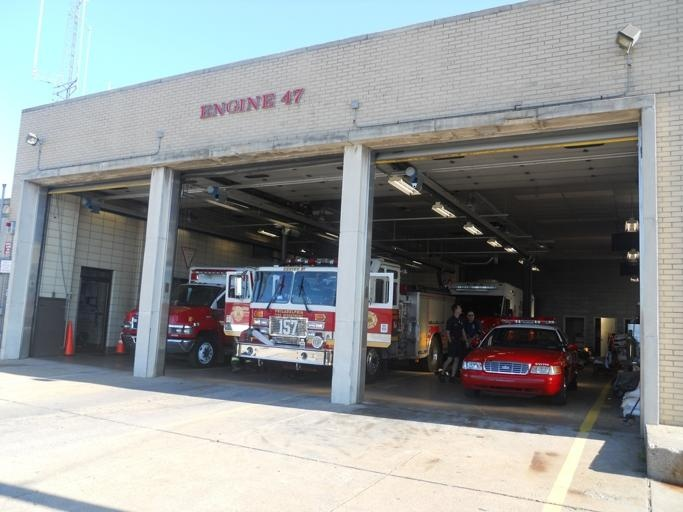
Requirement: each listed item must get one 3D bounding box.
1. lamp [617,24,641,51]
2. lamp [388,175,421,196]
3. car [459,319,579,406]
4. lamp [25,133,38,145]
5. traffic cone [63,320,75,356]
[{"bbox_3d":[5.339,-4.101,10.662,0.418,0.547,0.341,-1,-7,25],"label":"lamp"},{"bbox_3d":[1.584,-1.787,14.250,0.686,0.362,0.685,1,-6,11],"label":"lamp"},{"bbox_3d":[4.226,2.452,13.598,2.065,1.733,2.329,-1,-7,28],"label":"car"},{"bbox_3d":[-9.100,-3.425,17.044,0.340,0.325,0.429,2,-13,-35],"label":"lamp"},{"bbox_3d":[-8.591,2.559,18.225,0.284,1.090,0.366,7,-8,-33],"label":"traffic cone"}]
